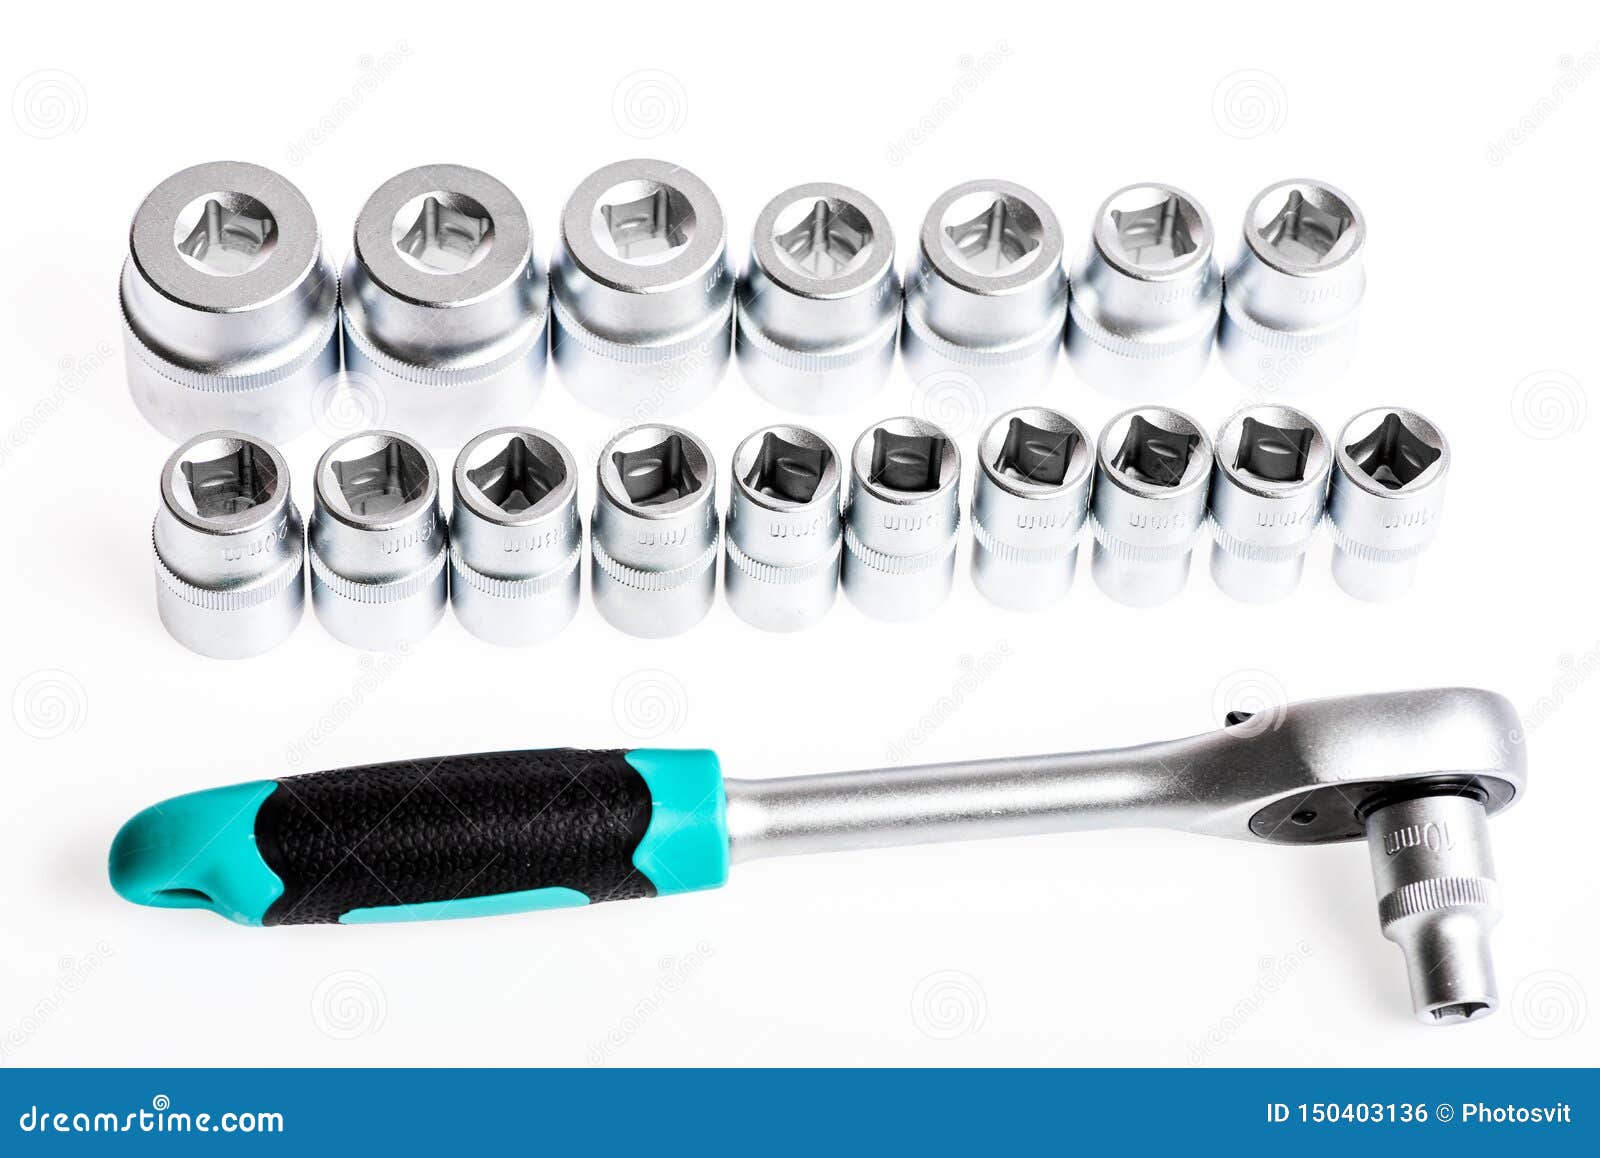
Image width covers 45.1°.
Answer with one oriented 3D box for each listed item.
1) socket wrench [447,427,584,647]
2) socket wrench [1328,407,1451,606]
[{"bbox_3d":[-0.631,-0.090,4.181,0.228,0.340,0.243,31,57,21],"label":"socket wrench"},{"bbox_3d":[1.364,-0.109,4.490,0.177,0.345,0.221,4,40,10],"label":"socket wrench"}]
